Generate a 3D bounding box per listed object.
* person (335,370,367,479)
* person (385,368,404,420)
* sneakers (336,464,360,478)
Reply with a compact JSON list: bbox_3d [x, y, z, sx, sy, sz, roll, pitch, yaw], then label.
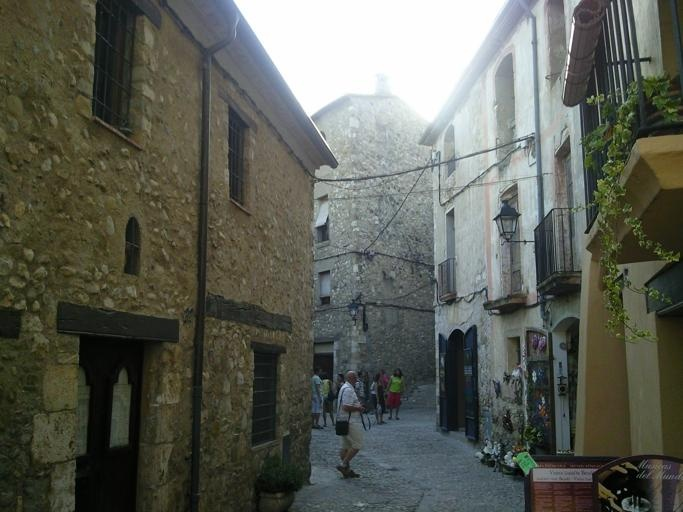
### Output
[{"bbox_3d":[0.129,2.879,10.888,0.434,1.753,0.598,0,-6,0],"label":"person"},{"bbox_3d":[1.748,4.446,20.568,0.501,1.572,1.909,0,-8,5],"label":"person"},{"bbox_3d":[0.147,3.616,10.660,0.446,0.233,0.168,3,-5,3],"label":"sneakers"}]
